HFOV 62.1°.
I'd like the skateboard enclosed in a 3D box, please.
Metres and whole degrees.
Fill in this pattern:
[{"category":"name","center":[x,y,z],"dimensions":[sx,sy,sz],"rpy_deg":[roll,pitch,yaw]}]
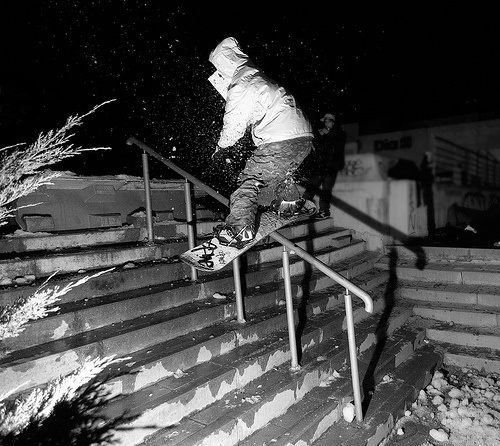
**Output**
[{"category":"skateboard","center":[-0.003,0.165,4.985],"dimensions":[0.373,0.217,1.359],"rpy_deg":[15,45,40]}]

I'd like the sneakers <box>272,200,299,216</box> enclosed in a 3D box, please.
[{"category":"sneakers","center":[0.426,-0.181,4.853],"dimensions":[0.235,0.174,0.137],"rpy_deg":[18,-24,21]}]

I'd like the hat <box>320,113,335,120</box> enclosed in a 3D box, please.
[{"category":"hat","center":[1.490,-2.006,7.837],"dimensions":[0.183,0.145,0.385],"rpy_deg":[6,10,18]}]
